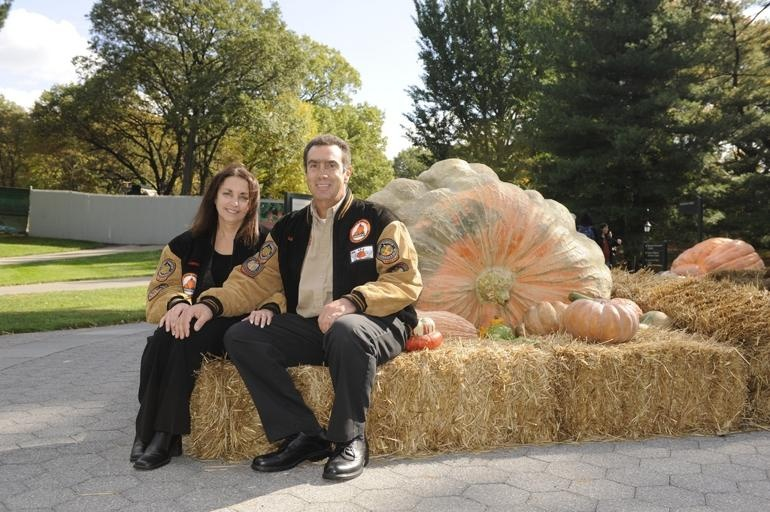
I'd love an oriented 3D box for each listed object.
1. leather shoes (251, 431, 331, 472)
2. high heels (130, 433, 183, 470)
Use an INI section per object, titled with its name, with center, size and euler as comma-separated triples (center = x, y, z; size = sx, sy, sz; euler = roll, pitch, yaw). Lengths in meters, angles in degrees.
[leather shoes]
center = -0.740, 1.533, 4.173
size = 0.625, 0.262, 0.137
euler = -1, 6, -20
[high heels]
center = -1.851, 1.550, 4.188
size = 0.170, 0.187, 0.409
euler = -1, -7, 17
